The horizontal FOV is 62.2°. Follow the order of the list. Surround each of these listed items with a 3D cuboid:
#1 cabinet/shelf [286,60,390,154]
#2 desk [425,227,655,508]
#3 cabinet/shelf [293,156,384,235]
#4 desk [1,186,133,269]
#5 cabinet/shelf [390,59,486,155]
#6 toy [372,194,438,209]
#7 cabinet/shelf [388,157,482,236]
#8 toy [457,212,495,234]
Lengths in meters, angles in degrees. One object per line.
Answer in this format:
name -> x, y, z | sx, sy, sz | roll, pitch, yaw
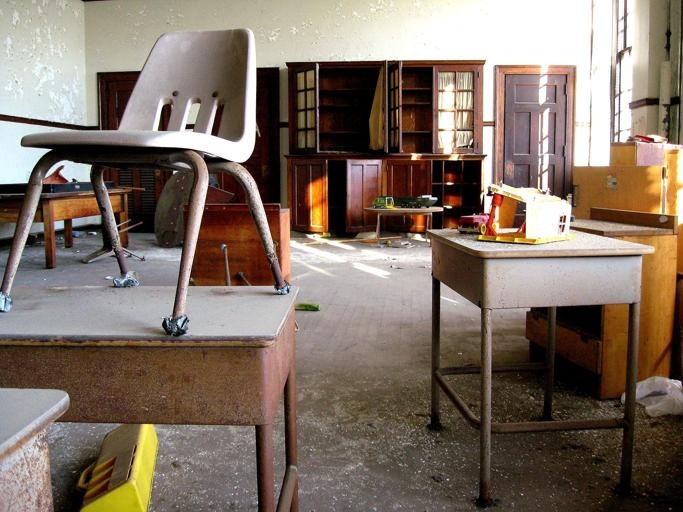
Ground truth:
cabinet/shelf -> -0.049, -2.224, 8.726 | 1.540, 1.499, 0.780 | -1, 6, -4
desk -> 0.718, 0.351, 2.219 | 0.684, 0.872, 0.673 | -1, 10, -6
cabinet/shelf -> -0.084, -0.922, 8.806 | 1.485, 1.276, 0.887 | 2, 6, 16
desk -> -2.635, -0.260, 5.418 | 1.096, 0.605, 0.850 | 1, 2, 23
cabinet/shelf -> 1.442, -2.276, 8.506 | 1.455, 1.404, 0.759 | 1, 4, 4
toy -> 0.837, -0.725, 7.574 | 0.797, 0.143, 0.372 | 2, 10, 11
cabinet/shelf -> 1.432, -1.098, 8.757 | 1.379, 1.208, 0.420 | -6, 32, 2
toy -> 0.519, -0.138, 2.293 | 0.082, 0.051, 0.119 | 7, 11, 42
